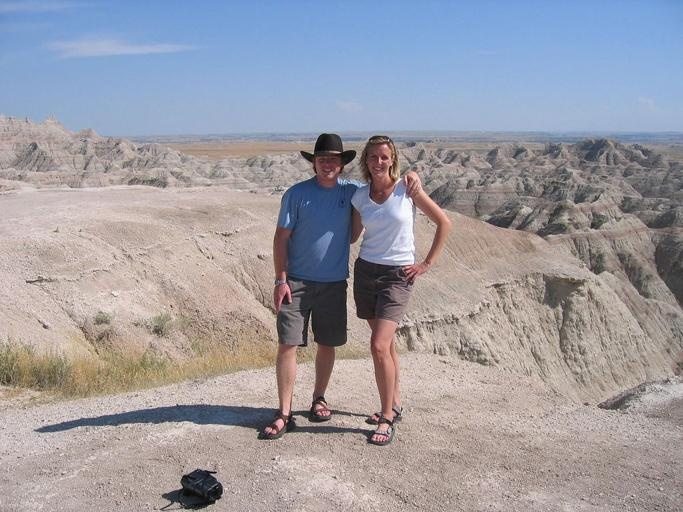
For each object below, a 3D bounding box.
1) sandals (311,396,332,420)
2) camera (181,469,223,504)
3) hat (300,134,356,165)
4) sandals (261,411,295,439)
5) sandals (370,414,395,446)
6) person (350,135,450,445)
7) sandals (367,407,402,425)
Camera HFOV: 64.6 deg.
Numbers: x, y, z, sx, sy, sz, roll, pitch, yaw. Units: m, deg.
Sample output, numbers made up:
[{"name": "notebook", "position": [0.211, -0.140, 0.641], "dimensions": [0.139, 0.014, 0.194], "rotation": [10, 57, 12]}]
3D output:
[{"name": "sandals", "position": [-0.220, 1.566, 5.568], "dimensions": [0.139, 0.132, 0.305], "rotation": [1, -4, -4]}, {"name": "camera", "position": [-1.095, 1.794, 4.271], "dimensions": [0.285, 0.126, 0.199], "rotation": [23, 28, 30]}, {"name": "hat", "position": [-0.124, -1.017, 5.261], "dimensions": [0.572, 0.219, 0.608], "rotation": [-2, -5, -11]}, {"name": "sandals", "position": [-0.597, 1.620, 5.186], "dimensions": [0.144, 0.154, 0.393], "rotation": [-4, -8, 36]}, {"name": "sandals", "position": [0.370, 1.651, 5.079], "dimensions": [0.136, 0.133, 0.359], "rotation": [0, 0, 14]}, {"name": "person", "position": [0.516, 0.287, 5.253], "dimensions": [0.901, 2.912, 0.723], "rotation": [2, 5, 1]}, {"name": "sandals", "position": [0.444, 1.621, 5.484], "dimensions": [0.409, 0.137, 0.144], "rotation": [4, -4, -29]}]
